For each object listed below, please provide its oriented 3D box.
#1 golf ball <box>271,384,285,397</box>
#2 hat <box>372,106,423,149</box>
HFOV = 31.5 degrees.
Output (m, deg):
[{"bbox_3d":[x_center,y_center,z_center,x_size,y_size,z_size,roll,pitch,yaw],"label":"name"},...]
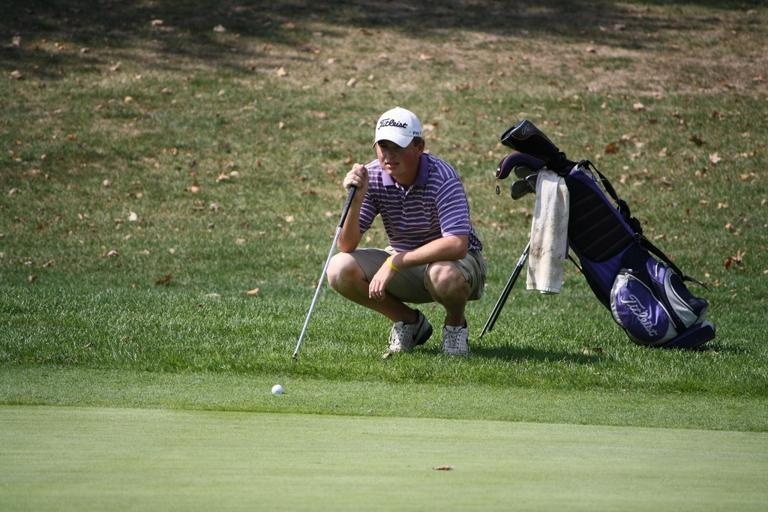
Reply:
[{"bbox_3d":[-1.017,1.338,13.337,0.104,0.076,0.098,14,65,-31],"label":"golf ball"},{"bbox_3d":[0.185,-1.355,14.203,0.444,0.340,0.313,9,30,6],"label":"hat"}]
